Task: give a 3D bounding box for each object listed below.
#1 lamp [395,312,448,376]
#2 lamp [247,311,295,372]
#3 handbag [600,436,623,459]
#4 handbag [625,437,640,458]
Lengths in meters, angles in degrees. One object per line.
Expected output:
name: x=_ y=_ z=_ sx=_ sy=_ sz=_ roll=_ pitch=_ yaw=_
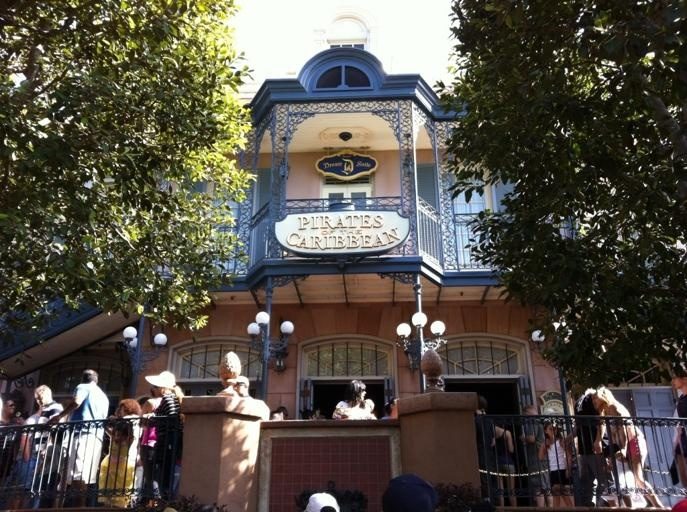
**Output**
lamp: x=1.773 y=1.996 z=12.646 sx=1.115 sy=1.485 sz=0.343 roll=-5 pitch=-35 yaw=12
lamp: x=-1.825 y=2.195 z=13.091 sx=1.165 sy=1.341 sz=1.073 roll=0 pitch=-11 yaw=17
handbag: x=3.568 y=2.577 z=7.295 sx=0.262 sy=0.141 sz=0.384 roll=15 pitch=-17 yaw=11
handbag: x=3.857 y=2.574 z=7.301 sx=0.197 sy=0.249 sz=0.270 roll=-4 pitch=5 yaw=14
